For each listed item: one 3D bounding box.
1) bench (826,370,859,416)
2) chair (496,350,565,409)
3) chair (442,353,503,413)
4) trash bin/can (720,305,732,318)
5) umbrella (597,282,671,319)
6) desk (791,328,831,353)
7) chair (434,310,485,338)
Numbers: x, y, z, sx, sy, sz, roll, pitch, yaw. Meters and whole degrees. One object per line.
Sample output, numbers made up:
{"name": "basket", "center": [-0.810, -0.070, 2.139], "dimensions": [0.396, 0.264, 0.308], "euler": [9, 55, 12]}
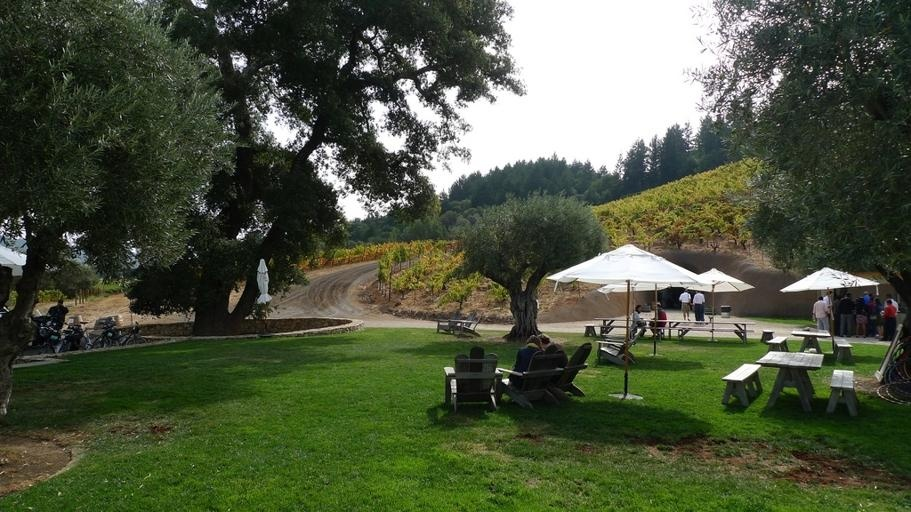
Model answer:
{"name": "bench", "center": [10.410, 3.542, 14.447], "dimensions": [0.648, 0.559, 2.251], "euler": [-4, 0, 37]}
{"name": "chair", "center": [1.923, 3.277, 14.727], "dimensions": [1.616, 1.394, 2.036], "euler": [6, -12, -39]}
{"name": "chair", "center": [0.477, 3.183, 14.473], "dimensions": [1.478, 1.711, 1.851], "euler": [1, 1, -1]}
{"name": "trash bin/can", "center": [19.873, 4.123, 39.573], "dimensions": [0.966, 0.947, 0.943], "euler": [0, -3, -8]}
{"name": "umbrella", "center": [11.624, 3.078, 35.863], "dimensions": [3.384, 2.007, 3.357], "euler": [-4, -10, 21]}
{"name": "desk", "center": [13.664, 3.233, 20.619], "dimensions": [0.821, 0.937, 2.469], "euler": [8, 10, 40]}
{"name": "chair", "center": [0.489, 3.812, 29.251], "dimensions": [1.882, 1.175, 1.356], "euler": [4, -9, -40]}
